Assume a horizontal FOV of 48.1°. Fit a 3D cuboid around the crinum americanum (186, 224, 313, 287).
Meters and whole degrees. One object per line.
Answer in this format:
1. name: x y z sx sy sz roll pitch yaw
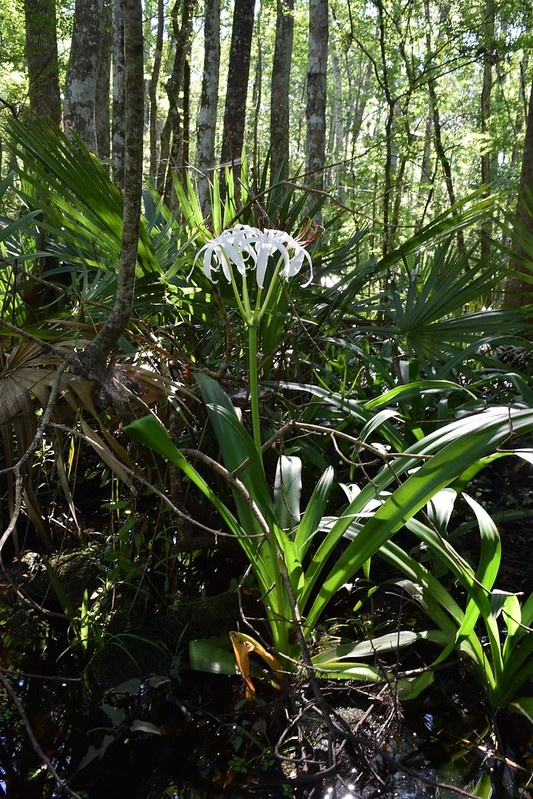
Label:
1. crinum americanum: -0.016 -0.281 1.169 0.187 0.115 0.259 11 15 26
